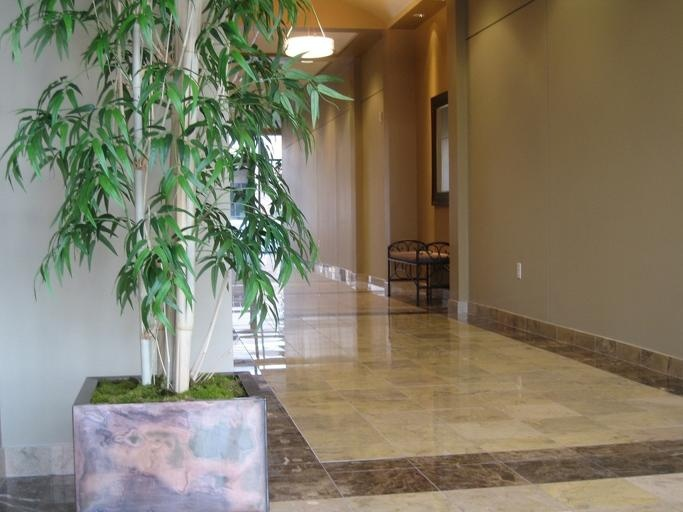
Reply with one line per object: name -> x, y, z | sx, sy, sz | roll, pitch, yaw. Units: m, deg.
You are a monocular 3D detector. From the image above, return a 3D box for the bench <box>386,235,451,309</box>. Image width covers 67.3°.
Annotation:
bench -> 1.370, 0.226, 8.697 | 0.714, 1.034, 1.762 | -2, 2, -9
